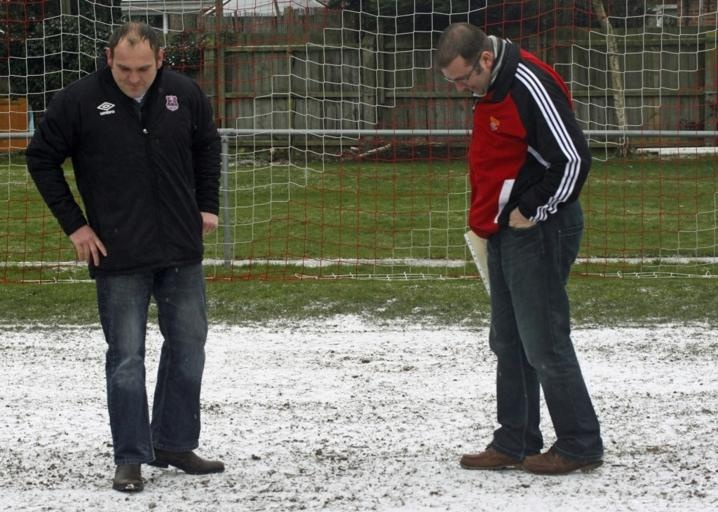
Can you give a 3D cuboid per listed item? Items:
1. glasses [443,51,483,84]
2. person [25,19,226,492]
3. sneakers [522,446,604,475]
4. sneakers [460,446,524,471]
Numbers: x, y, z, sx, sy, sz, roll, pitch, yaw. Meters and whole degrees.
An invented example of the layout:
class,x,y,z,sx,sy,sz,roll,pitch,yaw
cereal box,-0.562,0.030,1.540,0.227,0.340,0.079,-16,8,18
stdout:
class,x,y,z,sx,sy,sz,roll,pitch,yaw
glasses,0.898,-1.617,12.397,0.223,0.136,0.301,-7,34,39
person,-1.959,-0.009,12.563,1.518,4.068,0.669,-2,5,-6
sneakers,1.814,1.815,12.564,0.658,0.303,0.261,1,-2,-1
sneakers,1.187,1.787,12.749,0.548,0.256,0.218,4,-3,0
